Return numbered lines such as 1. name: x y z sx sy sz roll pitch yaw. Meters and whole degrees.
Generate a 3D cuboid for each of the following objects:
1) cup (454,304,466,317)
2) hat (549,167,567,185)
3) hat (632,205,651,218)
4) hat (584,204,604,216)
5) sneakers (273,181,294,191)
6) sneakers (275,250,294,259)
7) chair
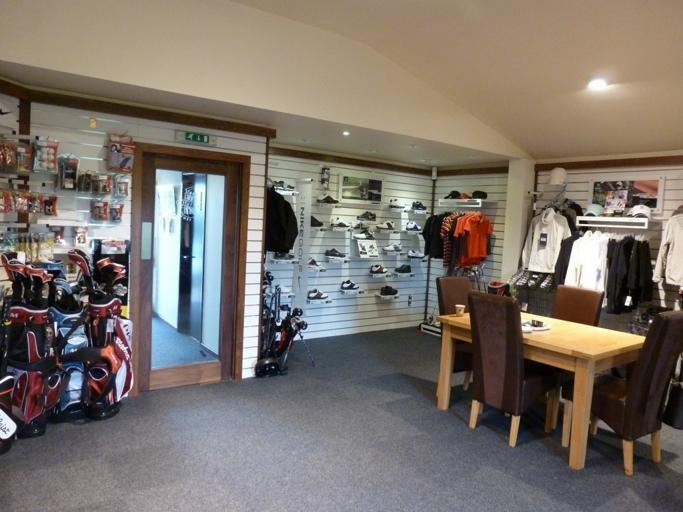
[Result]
1. cup: 1.281 0.591 5.039 0.140 0.112 0.137 1 2 0
2. hat: 3.165 -1.159 6.691 0.230 0.263 0.244 7 9 23
3. hat: 3.807 -0.569 5.849 0.201 0.150 0.176 7 9 27
4. hat: 3.479 -0.623 6.313 0.147 0.115 0.232 1 -3 40
5. sneakers: -0.786 -0.914 6.098 0.283 0.111 0.307 2 8 -11
6. sneakers: -0.794 -0.018 6.368 0.266 0.122 0.091 -1 12 -7
7. chair: 1.929 1.154 4.866 1.960 1.122 1.239 11 11 42
